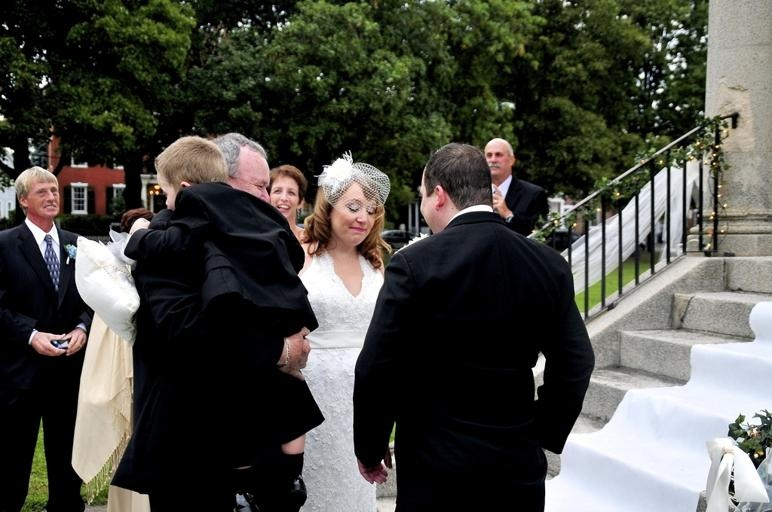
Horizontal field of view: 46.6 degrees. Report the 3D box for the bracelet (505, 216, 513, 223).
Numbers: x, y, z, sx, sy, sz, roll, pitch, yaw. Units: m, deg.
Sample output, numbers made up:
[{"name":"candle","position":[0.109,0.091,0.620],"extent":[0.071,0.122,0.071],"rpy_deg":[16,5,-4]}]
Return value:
[{"name":"bracelet","position":[1.376,-0.413,10.021],"extent":[0.069,0.076,0.088],"rpy_deg":[-2,6,-39]}]
